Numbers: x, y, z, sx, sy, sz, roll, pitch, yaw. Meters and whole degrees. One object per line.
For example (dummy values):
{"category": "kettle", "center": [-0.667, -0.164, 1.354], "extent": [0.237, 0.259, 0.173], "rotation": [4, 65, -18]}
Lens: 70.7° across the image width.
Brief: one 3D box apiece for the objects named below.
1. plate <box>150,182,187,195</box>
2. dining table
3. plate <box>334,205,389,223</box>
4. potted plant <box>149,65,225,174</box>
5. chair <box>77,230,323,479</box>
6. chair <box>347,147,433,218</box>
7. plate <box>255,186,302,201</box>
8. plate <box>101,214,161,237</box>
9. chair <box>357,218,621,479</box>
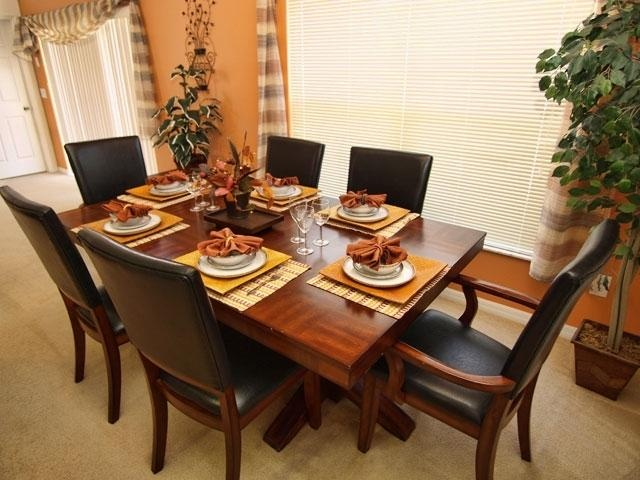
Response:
{"category": "plate", "center": [-0.976, -0.329, 2.927], "extent": [0.157, 0.022, 0.147], "rotation": [7, 19, 24]}
{"category": "dining table", "center": [0.032, 0.345, 2.395], "extent": [2.136, 0.922, 1.278], "rotation": [19, 33, 31]}
{"category": "plate", "center": [0.231, -0.132, 2.536], "extent": [0.155, 0.018, 0.154], "rotation": [20, 28, 39]}
{"category": "potted plant", "center": [-1.346, -1.167, 4.348], "extent": [0.669, 0.981, 1.214], "rotation": [-17, 29, -33]}
{"category": "chair", "center": [-0.521, 0.533, 2.064], "extent": [0.679, 1.219, 0.790], "rotation": [26, 41, 30]}
{"category": "chair", "center": [0.417, -0.355, 2.783], "extent": [0.377, 0.591, 0.360], "rotation": [22, 35, 27]}
{"category": "plate", "center": [-0.225, -0.294, 2.789], "extent": [0.189, 0.027, 0.178], "rotation": [12, 24, 24]}
{"category": "plate", "center": [-0.998, -0.072, 2.433], "extent": [0.184, 0.022, 0.163], "rotation": [2, 22, 3]}
{"category": "chair", "center": [0.853, 0.577, 2.229], "extent": [0.762, 1.196, 0.829], "rotation": [32, 45, 33]}
